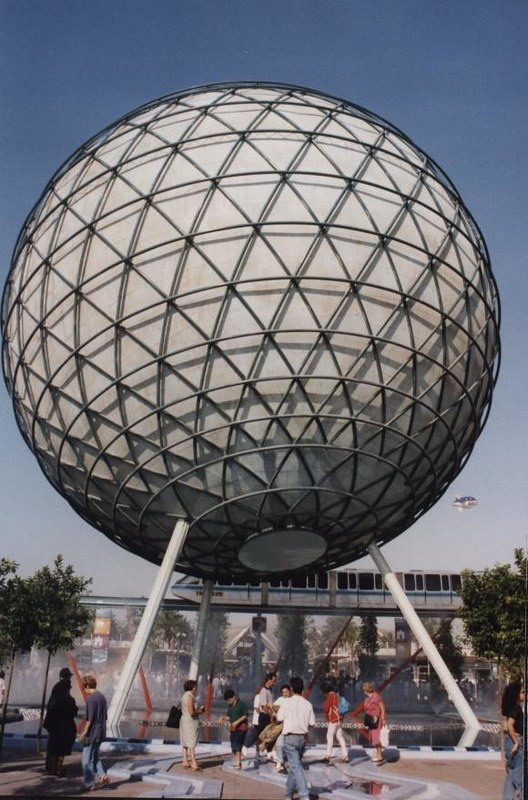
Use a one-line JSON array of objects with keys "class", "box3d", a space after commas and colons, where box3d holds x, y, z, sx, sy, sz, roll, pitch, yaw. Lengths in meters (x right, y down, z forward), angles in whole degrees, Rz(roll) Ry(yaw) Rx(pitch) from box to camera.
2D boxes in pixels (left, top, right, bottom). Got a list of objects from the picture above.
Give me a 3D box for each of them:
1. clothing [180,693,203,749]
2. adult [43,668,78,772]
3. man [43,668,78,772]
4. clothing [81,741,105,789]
[{"class": "clothing", "box3d": [-1.693, 7.289, 20.184, 0.324, 1.359, 0.572, -6, 6, -38]}, {"class": "adult", "box3d": [-4.429, 6.916, 19.303, 0.648, 2.162, 0.871, -1, -22, 7]}, {"class": "man", "box3d": [-4.429, 6.916, 19.303, 0.648, 2.162, 0.871, -1, -22, 7]}, {"class": "clothing", "box3d": [-3.405, 7.315, 17.937, 0.527, 0.836, 0.589, -17, -28, 39]}]
